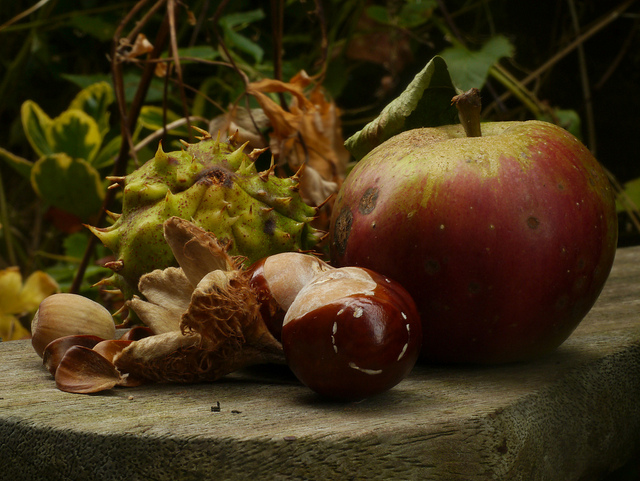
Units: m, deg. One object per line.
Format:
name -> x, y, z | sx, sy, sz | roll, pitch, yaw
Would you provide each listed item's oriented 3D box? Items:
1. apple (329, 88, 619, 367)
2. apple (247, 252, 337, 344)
apple -> 0.211, -0.016, 1.122 | 0.322, 0.328, 0.341 | -2, -2, -5
apple -> -0.039, 0.075, 0.976 | 0.112, 0.107, 0.107 | -11, 15, -40
